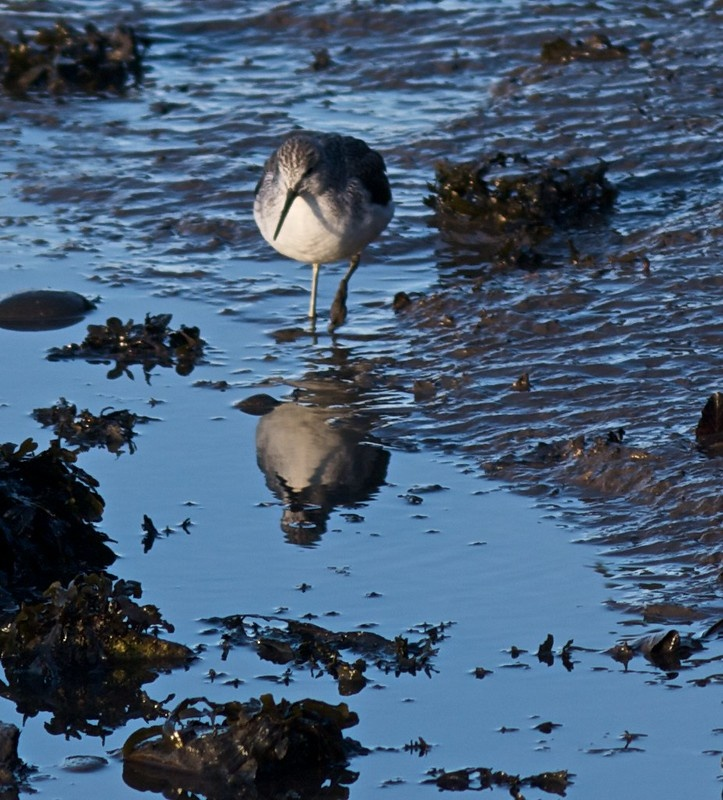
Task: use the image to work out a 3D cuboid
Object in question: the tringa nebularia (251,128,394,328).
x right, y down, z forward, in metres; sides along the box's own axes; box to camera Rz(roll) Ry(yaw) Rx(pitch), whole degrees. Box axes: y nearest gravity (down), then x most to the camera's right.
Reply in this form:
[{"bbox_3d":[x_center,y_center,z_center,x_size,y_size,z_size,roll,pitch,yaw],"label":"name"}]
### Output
[{"bbox_3d":[-0.182,-0.945,7.787,0.769,1.101,0.653,7,6,-18],"label":"tringa nebularia"}]
